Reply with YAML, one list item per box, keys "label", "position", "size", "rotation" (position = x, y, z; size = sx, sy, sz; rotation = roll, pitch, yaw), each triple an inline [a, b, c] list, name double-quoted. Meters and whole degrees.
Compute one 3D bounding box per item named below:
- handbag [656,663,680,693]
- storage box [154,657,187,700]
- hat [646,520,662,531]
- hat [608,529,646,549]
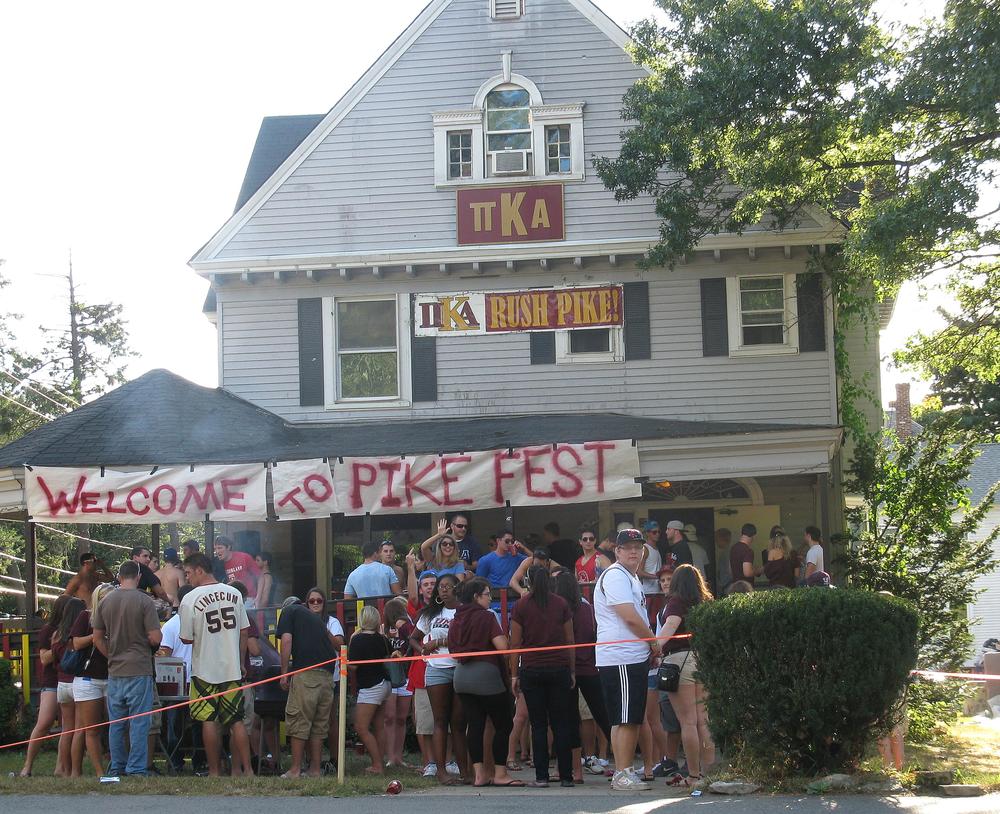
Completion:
- label: "handbag"
  position: [2.044, 3.265, 26.069]
  size: [0.245, 0.348, 0.343]
  rotation: [5, -3, 17]
- label: "storage box"
  position: [-4.278, 3.569, 28.127]
  size: [0.461, 0.680, 0.449]
  rotation: [1, -12, -10]
- label: "hat"
  position: [2.129, 1.676, 30.383]
  size: [0.190, 0.150, 0.262]
  rotation: [0, -8, 8]
- label: "hat"
  position: [1.649, 1.693, 27.659]
  size: [0.482, 0.292, 0.746]
  rotation: [3, -5, -7]
